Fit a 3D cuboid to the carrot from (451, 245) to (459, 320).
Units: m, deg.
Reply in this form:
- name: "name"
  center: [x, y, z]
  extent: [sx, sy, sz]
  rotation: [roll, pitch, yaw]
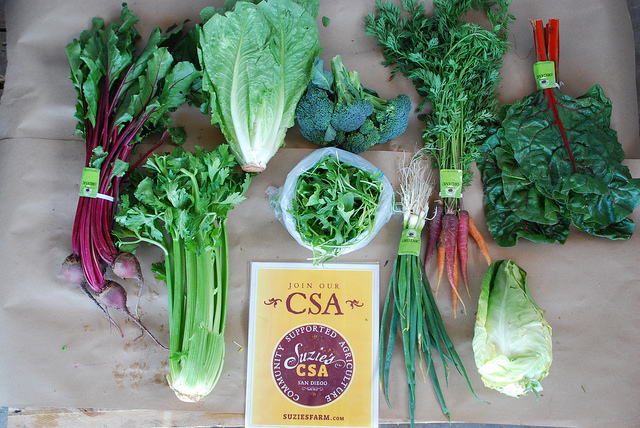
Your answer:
- name: "carrot"
  center: [0.647, 0.353, 2.739]
  extent: [0.034, 0.031, 0.294]
  rotation: [2, 85, -2]

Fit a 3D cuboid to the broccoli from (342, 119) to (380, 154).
- name: "broccoli"
  center: [0.201, -0.375, 2.715]
  extent: [0.115, 0.088, 0.178]
  rotation: [3, 94, -3]

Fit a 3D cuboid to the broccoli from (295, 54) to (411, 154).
- name: "broccoli"
  center: [0.148, -0.479, 2.684]
  extent: [0.395, 0.240, 0.550]
  rotation: [9, 93, -20]

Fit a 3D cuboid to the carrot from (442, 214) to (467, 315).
- name: "carrot"
  center: [0.631, 0.214, 2.763]
  extent: [0.109, 0.112, 0.510]
  rotation: [-6, 88, -28]

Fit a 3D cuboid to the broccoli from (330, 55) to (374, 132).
- name: "broccoli"
  center: [0.128, -0.545, 2.653]
  extent: [0.217, 0.339, 0.199]
  rotation: [-8, 36, -11]

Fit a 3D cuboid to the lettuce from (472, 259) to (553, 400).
- name: "lettuce"
  center: [0.878, 0.535, 2.617]
  extent: [0.327, 0.264, 0.657]
  rotation: [-4, 82, 15]

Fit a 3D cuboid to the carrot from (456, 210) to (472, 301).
- name: "carrot"
  center: [0.687, 0.188, 2.742]
  extent: [0.049, 0.057, 0.416]
  rotation: [3, 74, 5]
